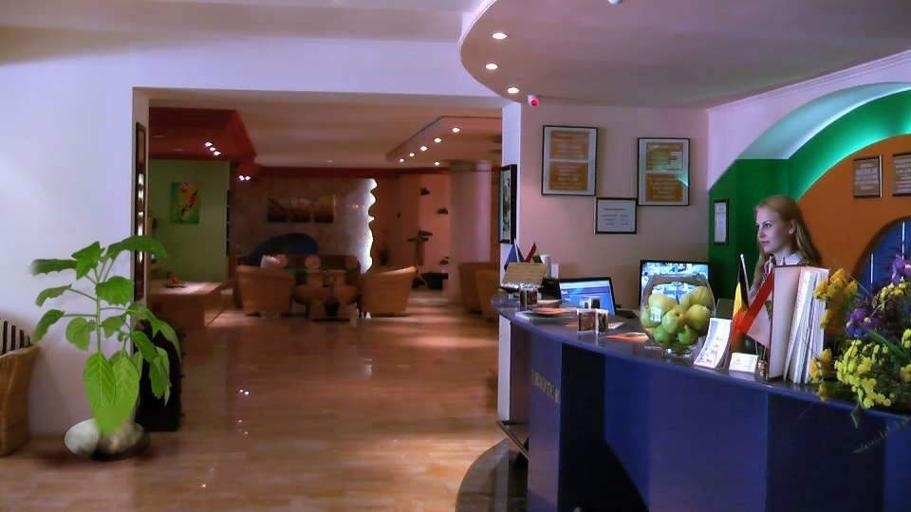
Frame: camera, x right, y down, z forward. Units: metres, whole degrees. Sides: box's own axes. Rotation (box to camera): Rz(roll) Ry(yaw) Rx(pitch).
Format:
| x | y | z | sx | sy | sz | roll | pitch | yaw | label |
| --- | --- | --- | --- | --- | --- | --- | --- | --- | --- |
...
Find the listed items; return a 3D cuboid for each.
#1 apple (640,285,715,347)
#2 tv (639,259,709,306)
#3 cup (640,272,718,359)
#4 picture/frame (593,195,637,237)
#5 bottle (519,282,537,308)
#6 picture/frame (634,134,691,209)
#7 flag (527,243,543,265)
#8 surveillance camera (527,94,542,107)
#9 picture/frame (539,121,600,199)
| x | y | z | sx | sy | sz | roll | pitch | yaw | label |
| --- | --- | --- | --- | --- | --- | --- | --- | --- | --- |
| 1.468 | 0.393 | 4.106 | 0.424 | 0.308 | 0.402 | 0 | -3 | -8 | apple |
| 1.793 | 0.208 | 4.987 | 0.530 | 0.343 | 0.054 | 0 | -4 | 4 | tv |
| 1.453 | 0.390 | 4.054 | 0.542 | 0.531 | 0.526 | -1 | 0 | 0 | cup |
| 1.770 | -0.456 | 6.855 | 0.510 | 0.397 | 0.067 | 1 | -4 | -12 | picture/frame |
| 0.621 | 0.340 | 5.134 | 0.176 | 0.184 | 0.175 | -2 | -1 | 33 | bottle |
| 2.312 | -0.999 | 6.881 | 0.921 | 1.104 | 0.092 | 1 | 3 | -5 | picture/frame |
| 0.802 | -0.025 | 6.162 | 0.145 | 0.190 | 0.487 | 1 | 10 | 5 | flag |
| 0.844 | -1.672 | 6.506 | 0.102 | 0.101 | 0.105 | 0 | -2 | -1 | surveillance camera |
| 1.235 | -1.094 | 6.770 | 0.961 | 1.060 | 0.077 | 0 | 0 | -8 | picture/frame |
